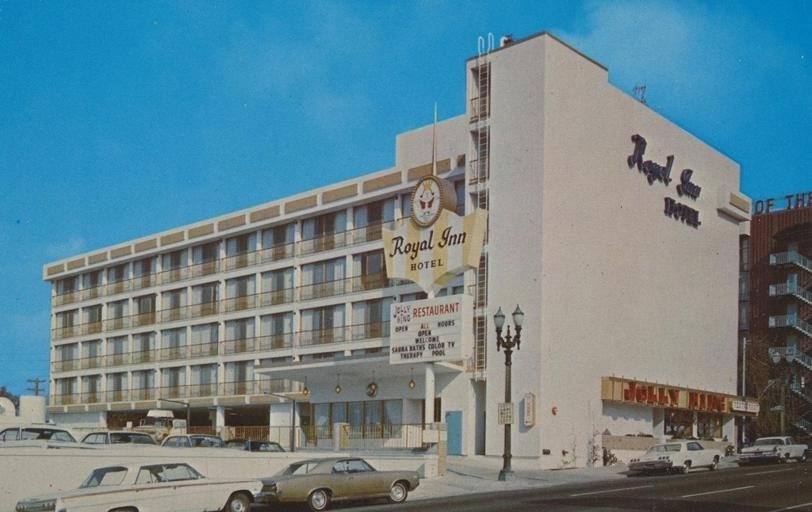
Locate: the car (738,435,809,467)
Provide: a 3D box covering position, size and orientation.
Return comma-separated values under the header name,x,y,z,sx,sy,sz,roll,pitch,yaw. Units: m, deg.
name,x,y,z,sx,sy,sz,roll,pitch,yaw
car,29.059,15.543,118.933,3.802,2.732,7.155,0,3,23
